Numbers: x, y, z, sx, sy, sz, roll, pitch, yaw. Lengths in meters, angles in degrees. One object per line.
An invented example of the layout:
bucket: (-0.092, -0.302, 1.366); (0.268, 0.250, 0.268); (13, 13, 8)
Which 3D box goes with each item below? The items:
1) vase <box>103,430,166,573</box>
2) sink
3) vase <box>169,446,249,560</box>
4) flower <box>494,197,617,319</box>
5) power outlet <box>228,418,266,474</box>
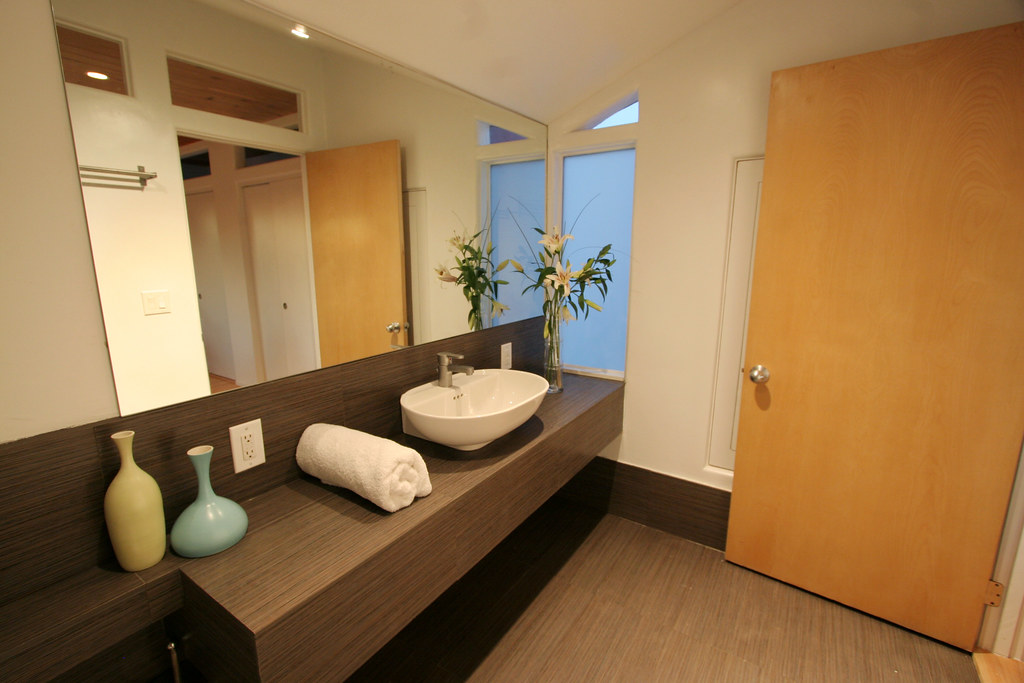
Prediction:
vase: (-1.282, 0.538, 2.185); (0.159, 0.470, 0.102); (-9, 15, -36)
sink: (-0.147, 0.328, 2.972); (0.520, 0.239, 0.751); (7, 14, 34)
vase: (-1.075, 0.552, 2.266); (0.236, 0.359, 0.158); (-9, 15, -37)
flower: (0.274, -0.316, 3.567); (0.497, 0.710, 0.533); (-3, 0, 9)
power outlet: (-1.007, 0.389, 2.466); (0.120, 0.196, 0.023); (-16, 33, -39)
